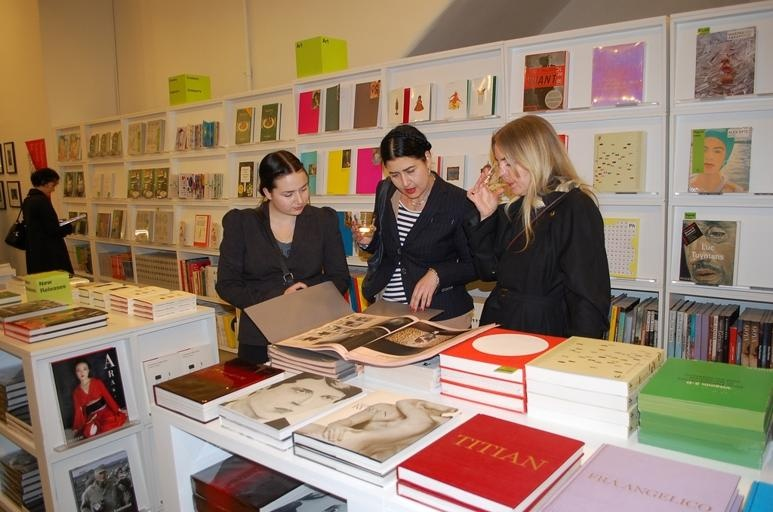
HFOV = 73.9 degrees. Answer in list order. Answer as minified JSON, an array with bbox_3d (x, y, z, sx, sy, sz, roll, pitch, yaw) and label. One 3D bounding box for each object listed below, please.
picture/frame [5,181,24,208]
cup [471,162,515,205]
[{"bbox_3d":[-5.754,-0.955,7.934,0.575,0.554,0.021,10,15,38],"label":"picture/frame"},{"bbox_3d":[0.600,-0.397,2.802,0.170,0.227,0.343,-2,9,-1],"label":"cup"}]
